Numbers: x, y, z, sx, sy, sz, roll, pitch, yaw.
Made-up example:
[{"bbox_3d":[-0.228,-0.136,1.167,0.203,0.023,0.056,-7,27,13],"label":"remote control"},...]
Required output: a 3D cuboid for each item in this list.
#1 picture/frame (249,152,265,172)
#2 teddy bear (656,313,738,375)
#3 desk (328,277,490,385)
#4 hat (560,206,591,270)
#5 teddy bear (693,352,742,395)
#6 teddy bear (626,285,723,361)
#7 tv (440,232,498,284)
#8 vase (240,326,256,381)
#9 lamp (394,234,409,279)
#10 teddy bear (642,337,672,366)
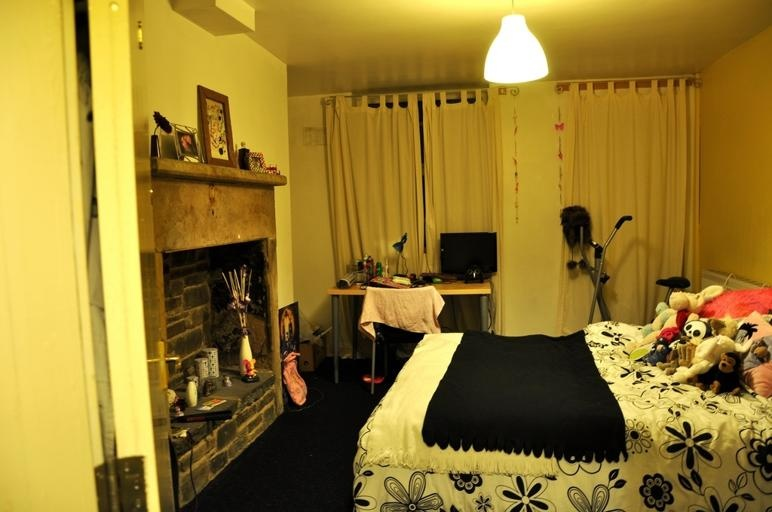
[{"bbox_3d":[-0.895,-0.658,3.957,0.039,0.139,0.137,-13,-7,33],"label":"picture/frame"},{"bbox_3d":[1.627,0.462,2.970,0.388,0.208,0.252,-23,-2,-21],"label":"teddy bear"},{"bbox_3d":[0.307,0.773,4.909,1.467,0.924,0.828,-1,-1,7],"label":"desk"},{"bbox_3d":[1.697,-0.186,5.136,0.303,0.532,0.230,2,19,21],"label":"hat"},{"bbox_3d":[1.637,0.584,2.837,0.191,0.239,0.157,12,10,28],"label":"teddy bear"},{"bbox_3d":[1.726,0.406,3.431,0.200,0.695,0.286,25,-9,-20],"label":"teddy bear"},{"bbox_3d":[0.740,-0.006,5.120,0.444,0.385,0.129,0,-1,3],"label":"tv"},{"bbox_3d":[-0.937,0.647,3.875,0.094,0.321,0.233,-7,14,-15],"label":"vase"},{"bbox_3d":[0.147,-0.018,5.220,0.140,0.385,0.305,-3,13,1],"label":"lamp"},{"bbox_3d":[1.485,0.535,3.162,0.148,0.153,0.114,-13,-1,31],"label":"teddy bear"}]
